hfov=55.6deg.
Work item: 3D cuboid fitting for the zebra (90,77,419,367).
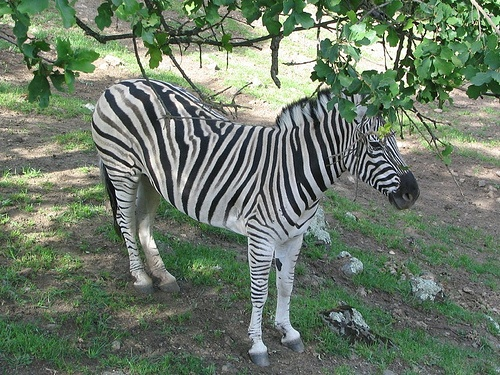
[{"bbox_3d":[-0.216,0.119,4.876,3.426,2.809,1.041,16,20,20],"label":"zebra"}]
